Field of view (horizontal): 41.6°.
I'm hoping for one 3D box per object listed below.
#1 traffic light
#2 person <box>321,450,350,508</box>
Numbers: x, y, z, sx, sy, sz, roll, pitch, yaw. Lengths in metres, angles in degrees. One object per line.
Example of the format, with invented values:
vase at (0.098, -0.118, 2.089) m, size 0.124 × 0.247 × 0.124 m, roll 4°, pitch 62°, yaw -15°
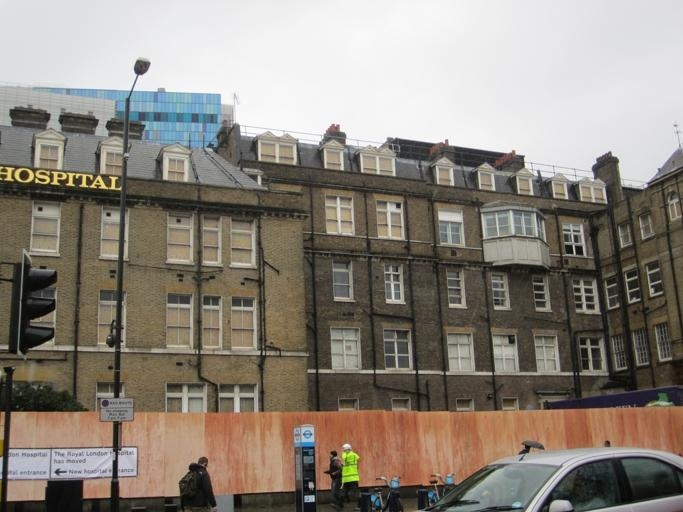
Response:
traffic light at (-7.151, 1.071, 20.805) m, size 0.973 × 2.464 × 0.905 m, roll 4°, pitch -20°, yaw -20°
person at (-0.229, 8.493, 34.479) m, size 1.223 × 2.992 × 1.189 m, roll 2°, pitch -34°, yaw 2°
